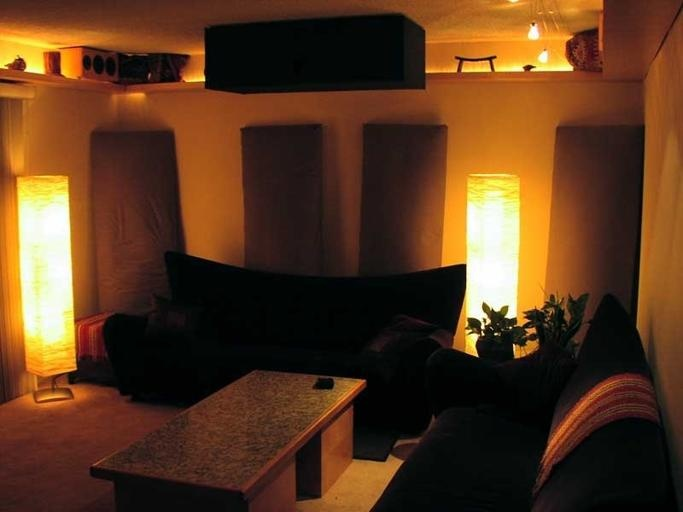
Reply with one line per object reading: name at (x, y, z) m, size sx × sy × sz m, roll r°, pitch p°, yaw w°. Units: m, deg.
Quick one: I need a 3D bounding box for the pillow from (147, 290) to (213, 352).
pillow at (-1.479, 0.579, 5.492) m, size 0.583 × 0.362 × 0.344 m, roll 1°, pitch 9°, yaw 4°

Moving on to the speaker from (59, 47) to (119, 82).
speaker at (-2.514, -1.926, 6.081) m, size 0.557 × 0.311 × 0.319 m, roll -4°, pitch 10°, yaw -26°

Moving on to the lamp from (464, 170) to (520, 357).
lamp at (1.254, 0.017, 5.111) m, size 0.359 × 1.312 × 0.327 m, roll 0°, pitch 24°, yaw 13°

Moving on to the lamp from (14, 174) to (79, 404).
lamp at (-2.771, 0.291, 5.665) m, size 0.484 × 2.081 × 0.438 m, roll -5°, pitch 4°, yaw -43°

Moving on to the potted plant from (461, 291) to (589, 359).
potted plant at (1.474, 0.554, 4.798) m, size 0.839 × 0.400 × 0.547 m, roll -3°, pitch 2°, yaw 30°
